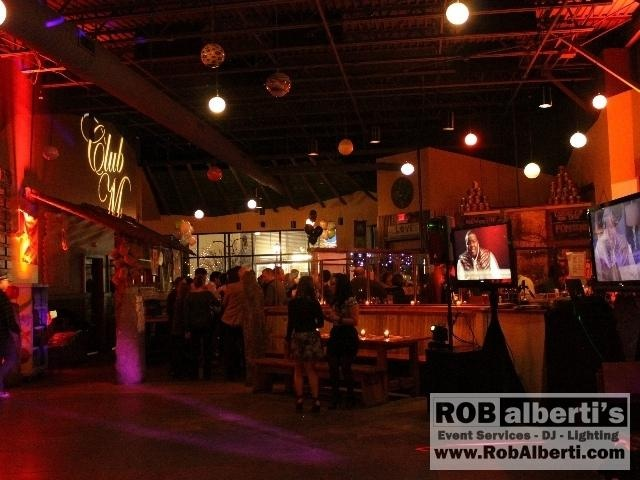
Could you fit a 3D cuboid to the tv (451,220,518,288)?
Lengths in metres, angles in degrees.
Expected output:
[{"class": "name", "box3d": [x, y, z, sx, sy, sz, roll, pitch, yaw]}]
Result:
[{"class": "tv", "box3d": [1.856, 0.178, 6.532, 0.091, 0.767, 0.889, -2, -2, -33]}]

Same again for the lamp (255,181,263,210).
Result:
[{"class": "lamp", "box3d": [-2.443, -1.749, 22.683, 0.245, 0.993, 0.949, -2, -9, 9]}]

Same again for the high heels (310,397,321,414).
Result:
[{"class": "high heels", "box3d": [-0.051, 2.280, 7.861, 0.131, 0.204, 0.287, 0, -9, -1]}]

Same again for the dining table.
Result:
[{"class": "dining table", "box3d": [0.891, 1.914, 8.651, 1.571, 0.644, 1.383, -8, -11, 43]}]

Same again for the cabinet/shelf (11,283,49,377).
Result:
[{"class": "cabinet/shelf", "box3d": [-5.634, 1.723, 10.951, 0.600, 1.742, 0.984, -2, -8, -12]}]

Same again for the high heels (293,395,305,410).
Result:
[{"class": "high heels", "box3d": [-0.281, 2.319, 8.024, 0.114, 0.221, 0.206, 3, -13, -5]}]
